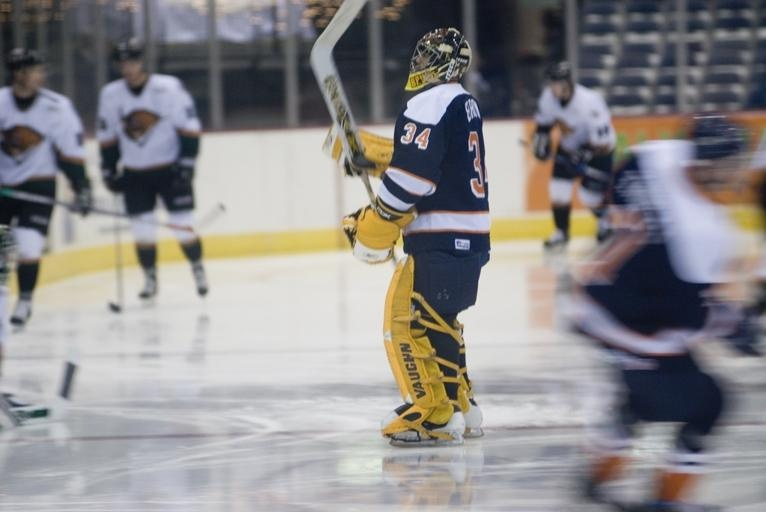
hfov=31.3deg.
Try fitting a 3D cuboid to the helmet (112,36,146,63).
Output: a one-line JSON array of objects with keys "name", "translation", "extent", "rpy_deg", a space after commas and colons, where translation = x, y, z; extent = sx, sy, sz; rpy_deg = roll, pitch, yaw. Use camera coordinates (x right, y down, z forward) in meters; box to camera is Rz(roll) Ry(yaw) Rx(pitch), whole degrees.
[{"name": "helmet", "translation": [-1.770, -1.443, 9.525], "extent": [0.195, 0.167, 0.303], "rpy_deg": [-3, 14, -7]}]

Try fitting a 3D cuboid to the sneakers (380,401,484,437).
[{"name": "sneakers", "translation": [0.225, 0.897, 7.481], "extent": [0.657, 0.210, 0.200], "rpy_deg": [2, -2, -3]}]

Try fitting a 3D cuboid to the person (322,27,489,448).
[{"name": "person", "translation": [0.230, -0.095, 7.340], "extent": [0.698, 2.186, 0.647], "rpy_deg": [-9, 18, -26]}]

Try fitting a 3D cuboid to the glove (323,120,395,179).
[{"name": "glove", "translation": [-0.128, -0.505, 7.534], "extent": [0.402, 0.136, 0.381], "rpy_deg": [22, 28, -30]}]

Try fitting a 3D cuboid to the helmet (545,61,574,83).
[{"name": "helmet", "translation": [1.440, -1.501, 11.215], "extent": [0.202, 0.146, 0.138], "rpy_deg": [-3, 14, -4]}]

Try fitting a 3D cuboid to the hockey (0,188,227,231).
[{"name": "hockey", "translation": [-1.962, -0.325, 9.596], "extent": [1.617, 0.127, 0.202], "rpy_deg": [10, -25, -37]}]

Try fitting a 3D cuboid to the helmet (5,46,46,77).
[{"name": "helmet", "translation": [-2.230, -1.209, 8.485], "extent": [0.292, 0.112, 0.373], "rpy_deg": [-4, 10, -10]}]

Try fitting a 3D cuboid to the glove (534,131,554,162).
[{"name": "glove", "translation": [1.379, -0.958, 11.803], "extent": [0.216, 0.317, 0.251], "rpy_deg": [1, 4, 16]}]
